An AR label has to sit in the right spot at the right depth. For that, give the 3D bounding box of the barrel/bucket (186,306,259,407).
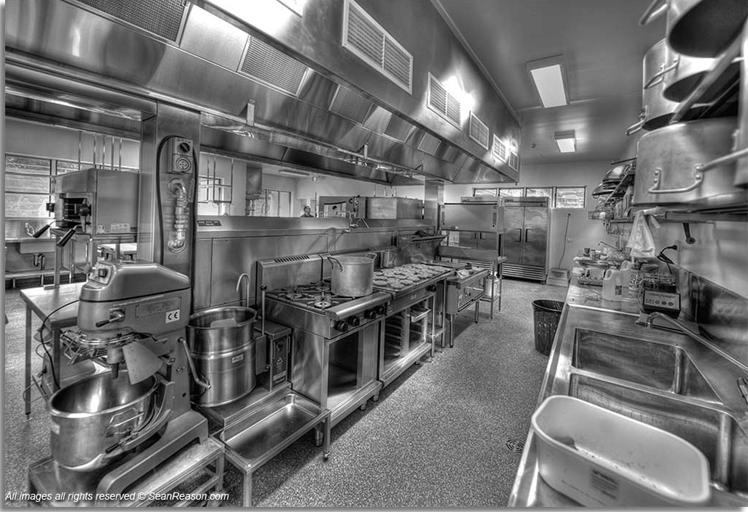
[{"bbox_3d":[-1.028,0.696,3.097,0.603,0.639,0.582,0,3,0],"label":"barrel/bucket"}]

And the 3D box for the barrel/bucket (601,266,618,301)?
[{"bbox_3d":[2.146,0.252,4.086,0.117,0.255,0.353,3,6,27],"label":"barrel/bucket"}]

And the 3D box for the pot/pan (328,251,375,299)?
[{"bbox_3d":[-0.191,0.162,3.734,0.292,0.277,0.485,1,3,32],"label":"pot/pan"}]

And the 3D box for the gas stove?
[{"bbox_3d":[-0.352,0.411,3.707,0.721,0.276,0.771,5,7,37],"label":"gas stove"}]

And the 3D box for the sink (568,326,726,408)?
[{"bbox_3d":[1.746,0.722,2.979,0.522,0.196,0.436,7,9,37],"label":"sink"}]

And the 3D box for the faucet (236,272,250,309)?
[{"bbox_3d":[-1.035,0.268,3.527,0.128,0.278,0.062,-4,7,-44],"label":"faucet"}]

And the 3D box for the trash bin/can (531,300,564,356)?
[{"bbox_3d":[1.905,0.812,4.973,0.297,0.518,0.829,3,6,23],"label":"trash bin/can"}]

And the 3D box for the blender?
[{"bbox_3d":[-1.563,0.641,2.764,0.804,1.223,0.978,10,7,24],"label":"blender"}]
